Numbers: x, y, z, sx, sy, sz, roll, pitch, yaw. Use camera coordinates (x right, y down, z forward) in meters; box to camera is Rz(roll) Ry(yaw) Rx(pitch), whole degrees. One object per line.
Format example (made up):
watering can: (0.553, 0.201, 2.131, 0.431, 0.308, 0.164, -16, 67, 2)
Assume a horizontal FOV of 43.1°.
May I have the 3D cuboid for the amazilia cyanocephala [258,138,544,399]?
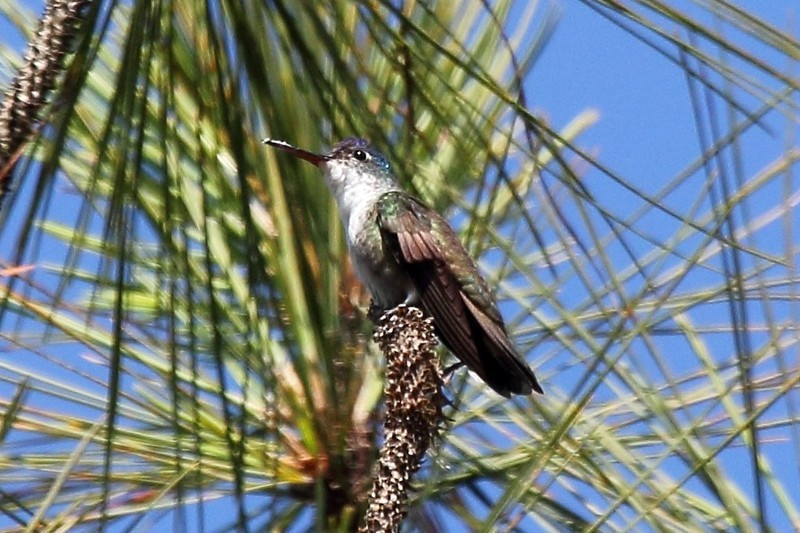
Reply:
amazilia cyanocephala: (0.015, -0.040, 3.922, 0.948, 0.947, 0.450, 4, -26, 3)
